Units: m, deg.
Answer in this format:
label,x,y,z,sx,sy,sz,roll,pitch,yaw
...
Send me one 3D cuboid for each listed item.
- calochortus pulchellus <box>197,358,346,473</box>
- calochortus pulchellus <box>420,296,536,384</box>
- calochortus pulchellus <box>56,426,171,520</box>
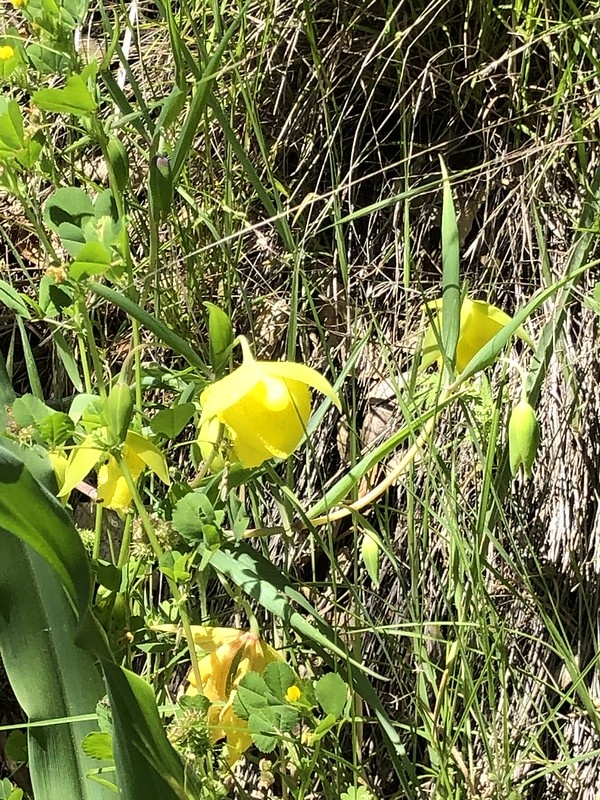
label,x,y,z,sx,sy,sz,roll,pitch,yaw
calochortus pulchellus,-0.028,0.008,0.652,0.120,0.073,0.121,-15,2,-29
calochortus pulchellus,0.158,-0.058,0.714,0.064,0.090,0.042,-6,36,8
calochortus pulchellus,-0.138,0.055,0.613,0.102,0.052,0.108,3,2,43
